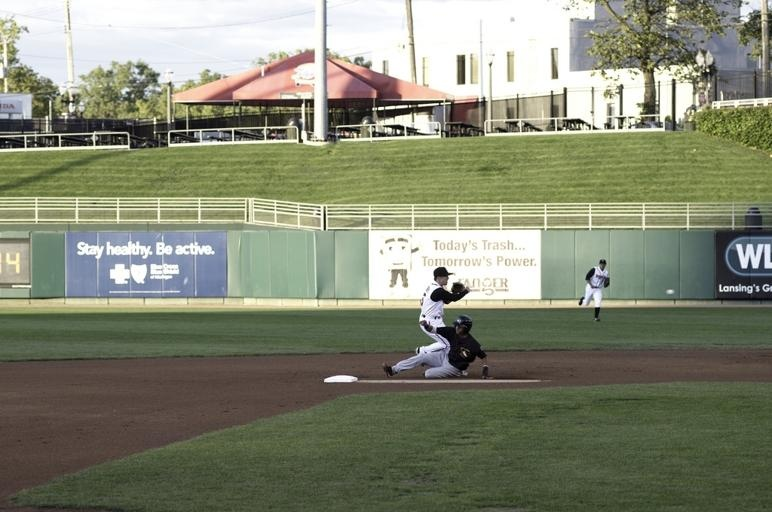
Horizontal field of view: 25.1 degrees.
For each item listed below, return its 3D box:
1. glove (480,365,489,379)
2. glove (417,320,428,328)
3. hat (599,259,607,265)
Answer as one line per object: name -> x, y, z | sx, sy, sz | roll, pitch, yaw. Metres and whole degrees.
glove -> 4.324, 4.959, 74.430 | 0.298, 0.565, 0.712 | -2, 4, 3
glove -> 1.636, 2.930, 74.160 | 0.239, 0.374, 0.541 | -6, 6, -40
hat -> 10.809, 0.269, 85.613 | 0.378, 0.191, 0.549 | 3, -10, 2
